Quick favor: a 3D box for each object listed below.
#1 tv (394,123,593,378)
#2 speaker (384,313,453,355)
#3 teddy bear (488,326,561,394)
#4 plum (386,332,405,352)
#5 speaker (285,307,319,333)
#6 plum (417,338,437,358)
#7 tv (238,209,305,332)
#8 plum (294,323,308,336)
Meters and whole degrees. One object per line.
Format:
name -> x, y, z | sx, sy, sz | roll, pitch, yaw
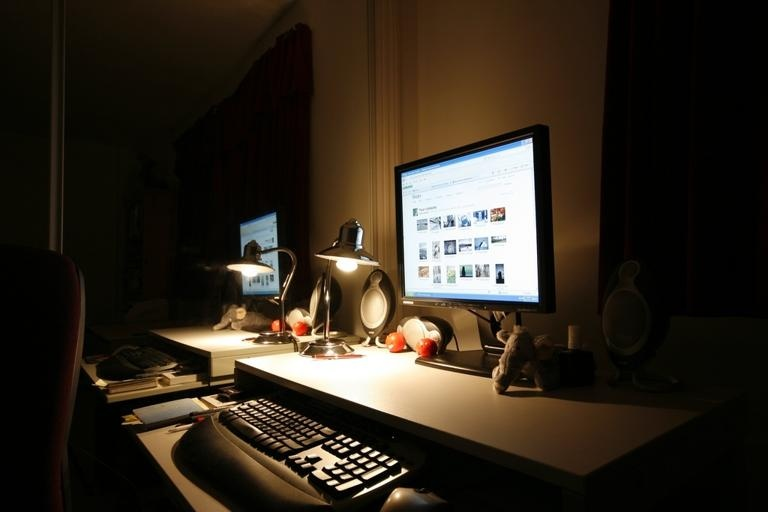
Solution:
tv -> 0.352, -0.009, 1.669 | 0.324, 0.849, 0.726 | 3, -6, -40
speaker -> 0.146, 0.260, 1.855 | 0.156, 0.076, 0.112 | 1, -3, 42
teddy bear -> 0.382, 0.272, 1.464 | 0.187, 0.137, 0.142 | -8, -7, -34
plum -> 0.041, 0.298, 1.889 | 0.060, 0.064, 0.061 | 1, -2, 8
speaker -> -0.360, 0.273, 2.313 | 0.104, 0.081, 0.089 | -5, -4, 43
plum -> 0.138, 0.292, 1.721 | 0.053, 0.057, 0.053 | -18, 18, -33
tv -> -0.508, 0.081, 2.372 | 0.066, 0.675, 0.462 | 3, -9, -37
plum -> -0.344, 0.299, 2.252 | 0.053, 0.039, 0.053 | 0, 4, -45
